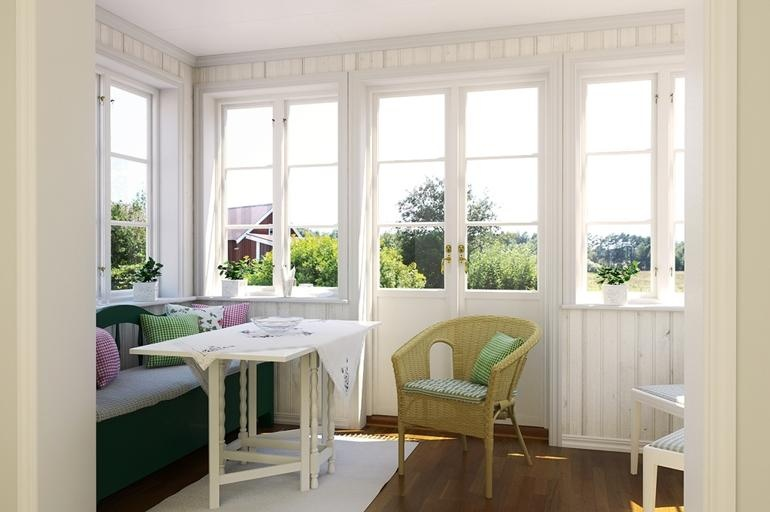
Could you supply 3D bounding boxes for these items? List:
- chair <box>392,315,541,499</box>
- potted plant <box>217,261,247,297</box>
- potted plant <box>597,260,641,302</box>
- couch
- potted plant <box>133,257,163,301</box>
[{"bbox_3d":[0.580,0.960,4.132,1.014,0.999,0.977,1,-2,9],"label":"chair"},{"bbox_3d":[-1.317,0.194,5.145,0.232,0.290,0.264,-1,6,-8],"label":"potted plant"},{"bbox_3d":[1.761,0.199,4.541,0.237,0.345,0.341,1,6,19],"label":"potted plant"},{"bbox_3d":[-1.329,0.987,3.870,0.405,0.627,1.244,-1,-1,14],"label":"couch"},{"bbox_3d":[-1.895,0.179,4.727,0.228,0.384,0.350,1,0,0],"label":"potted plant"}]
